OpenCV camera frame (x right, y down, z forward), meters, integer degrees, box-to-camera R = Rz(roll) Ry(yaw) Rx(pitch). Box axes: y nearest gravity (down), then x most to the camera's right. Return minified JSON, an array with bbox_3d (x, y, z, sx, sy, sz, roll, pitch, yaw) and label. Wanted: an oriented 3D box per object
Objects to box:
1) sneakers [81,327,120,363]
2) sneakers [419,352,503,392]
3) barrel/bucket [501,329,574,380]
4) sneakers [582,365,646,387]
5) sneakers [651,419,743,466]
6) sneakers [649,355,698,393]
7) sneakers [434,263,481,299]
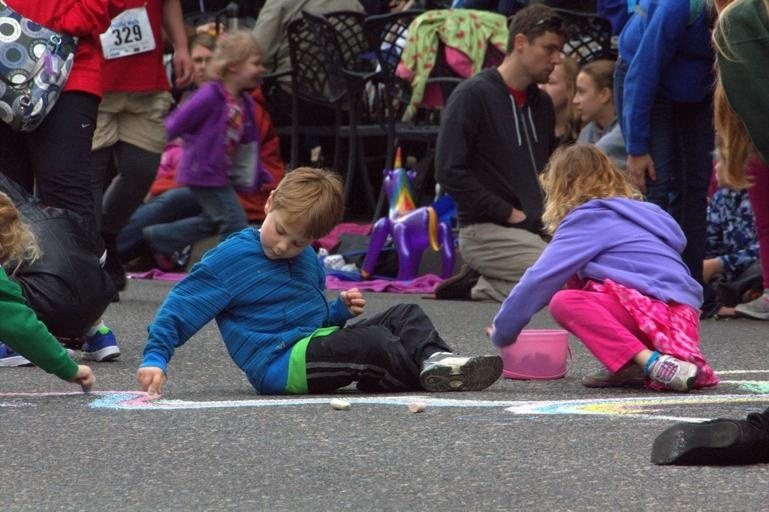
[{"bbox_3d":[-1.247,0.417,4.235,0.105,0.099,0.223,-3,2,-22],"label":"sneakers"},{"bbox_3d":[0.288,0.444,3.662,0.363,0.123,0.152,-2,9,-18],"label":"sneakers"},{"bbox_3d":[0.653,0.421,4.031,0.268,0.138,0.242,0,6,-1],"label":"barrel/bucket"},{"bbox_3d":[0.918,0.480,3.758,0.287,0.100,0.092,1,1,2],"label":"sneakers"},{"bbox_3d":[0.883,0.534,2.674,0.128,0.082,0.222,15,-19,-38],"label":"sneakers"},{"bbox_3d":[1.089,0.453,3.590,0.198,0.098,0.089,19,5,27],"label":"sneakers"},{"bbox_3d":[0.493,0.207,6.187,0.137,0.163,0.413,41,44,16],"label":"sneakers"}]
